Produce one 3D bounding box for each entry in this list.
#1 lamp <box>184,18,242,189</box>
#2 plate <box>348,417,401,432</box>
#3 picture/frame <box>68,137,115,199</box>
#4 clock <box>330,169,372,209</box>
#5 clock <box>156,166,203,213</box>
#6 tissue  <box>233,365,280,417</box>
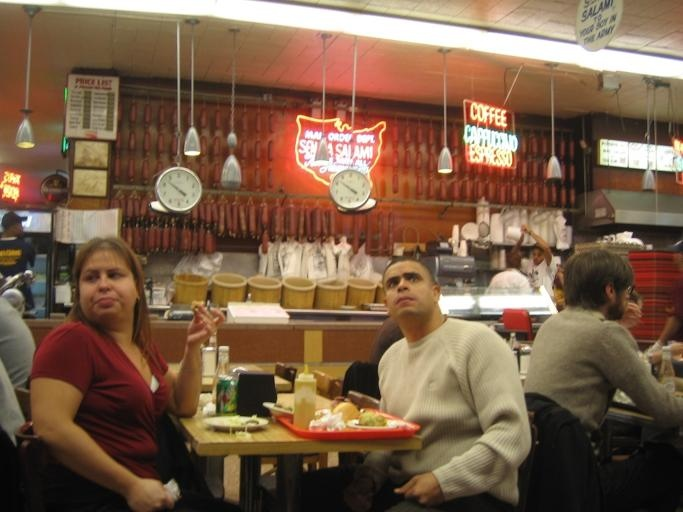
[{"bbox_3d":[-1.567,-1.673,8.329,0.655,1.790,2.137,0,-2,-8],"label":"lamp"},{"bbox_3d":[0.155,0.784,3.160,0.256,0.027,0.128,-1,-2,1],"label":"plate"},{"bbox_3d":[-3.175,-1.092,8.606,0.470,0.740,0.083,0,-1,-20],"label":"picture/frame"},{"bbox_3d":[0.102,-0.784,8.084,0.583,0.625,0.238,1,2,-2],"label":"clock"},{"bbox_3d":[-1.803,-0.722,7.489,0.478,0.498,0.178,0,-1,-17],"label":"clock"},{"bbox_3d":[-0.451,0.710,3.569,0.204,0.208,0.201,5,-7,-4],"label":"tissue "}]
